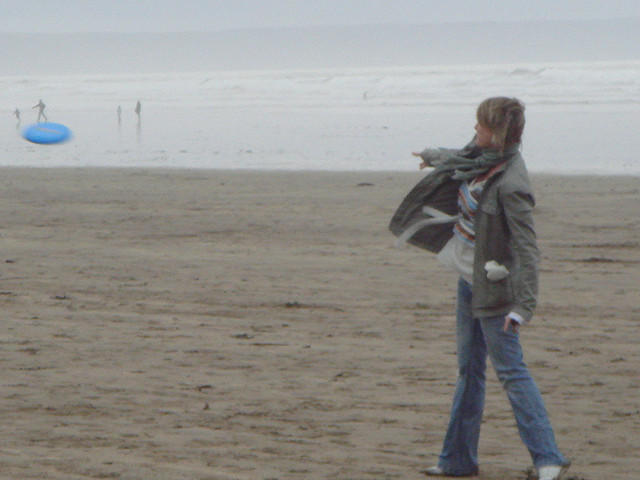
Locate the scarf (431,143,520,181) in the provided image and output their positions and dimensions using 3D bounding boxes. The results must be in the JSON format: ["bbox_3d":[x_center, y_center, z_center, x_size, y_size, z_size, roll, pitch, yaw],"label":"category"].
[{"bbox_3d":[2.802,-1.668,35.808,1.519,0.498,1.825,27,-18,-38],"label":"scarf"}]
